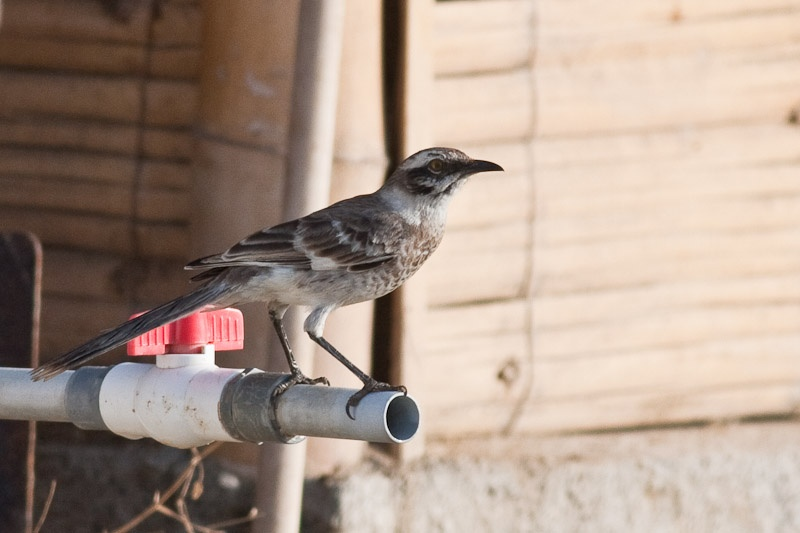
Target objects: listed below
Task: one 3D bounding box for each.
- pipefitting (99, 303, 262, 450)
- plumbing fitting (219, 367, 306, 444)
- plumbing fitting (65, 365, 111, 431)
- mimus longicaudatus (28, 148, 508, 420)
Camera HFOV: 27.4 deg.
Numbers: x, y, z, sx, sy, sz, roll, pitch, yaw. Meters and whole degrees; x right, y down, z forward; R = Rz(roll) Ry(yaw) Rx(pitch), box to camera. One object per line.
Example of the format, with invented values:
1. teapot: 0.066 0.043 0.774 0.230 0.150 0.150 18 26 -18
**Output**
1. pipefitting: -1.145 0.554 8.652 0.846 0.652 0.664 -2 -6 36
2. plumbing fitting: -0.733 0.671 8.367 0.421 0.374 0.360 3 1 43
3. plumbing fitting: -1.563 0.675 8.597 0.274 0.314 0.317 3 -3 33
4. mimus longicaudatus: -0.654 0.021 8.906 2.430 1.168 0.618 -4 0 3
